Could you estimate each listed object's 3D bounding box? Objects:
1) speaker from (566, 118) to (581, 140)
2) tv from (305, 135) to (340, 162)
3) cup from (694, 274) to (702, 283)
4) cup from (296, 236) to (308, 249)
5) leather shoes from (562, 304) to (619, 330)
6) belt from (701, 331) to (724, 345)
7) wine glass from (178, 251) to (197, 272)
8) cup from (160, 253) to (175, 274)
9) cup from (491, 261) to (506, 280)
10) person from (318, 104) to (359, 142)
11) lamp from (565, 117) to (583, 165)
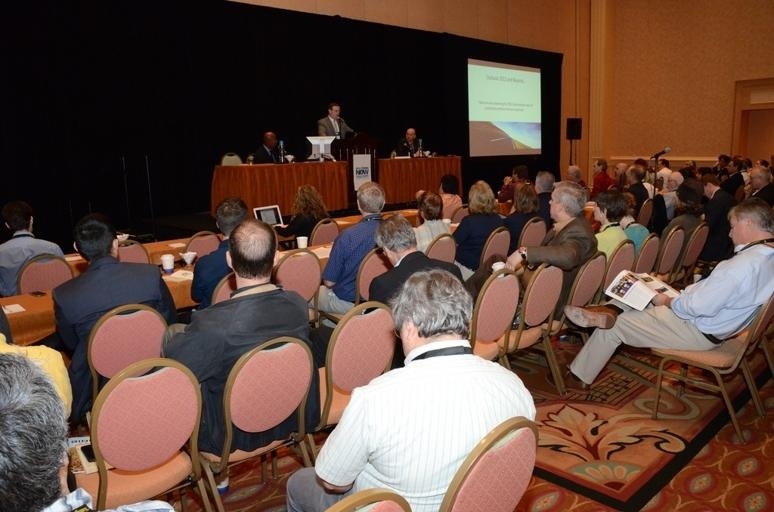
[{"bbox_3d":[5.516,-3.798,15.597,0.335,0.566,0.473,1,15,11],"label":"speaker"},{"bbox_3d":[-1.115,-1.910,9.279,0.600,0.604,0.200,-3,13,-21],"label":"tv"},{"bbox_3d":[3.539,0.251,6.013,0.063,0.111,0.064,-1,19,0],"label":"cup"},{"bbox_3d":[-0.964,-0.158,6.013,0.140,0.175,0.155,-1,13,-17],"label":"cup"},{"bbox_3d":[1.739,0.511,4.496,0.246,0.116,0.200,6,9,15],"label":"leather shoes"},{"bbox_3d":[2.613,0.662,4.224,0.086,0.066,0.119,-1,22,-15],"label":"belt"},{"bbox_3d":[-2.046,0.046,5.403,0.144,0.142,0.159,-5,-9,9],"label":"wine glass"},{"bbox_3d":[-2.159,0.072,5.167,0.103,0.155,0.118,-18,30,-35],"label":"cup"},{"bbox_3d":[0.953,0.110,4.447,0.132,0.163,0.148,1,7,26],"label":"cup"},{"bbox_3d":[-0.974,-2.559,9.964,0.734,0.635,0.589,-8,16,-20],"label":"person"},{"bbox_3d":[5.600,-3.391,15.964,0.438,1.749,0.456,2,22,15],"label":"lamp"}]
